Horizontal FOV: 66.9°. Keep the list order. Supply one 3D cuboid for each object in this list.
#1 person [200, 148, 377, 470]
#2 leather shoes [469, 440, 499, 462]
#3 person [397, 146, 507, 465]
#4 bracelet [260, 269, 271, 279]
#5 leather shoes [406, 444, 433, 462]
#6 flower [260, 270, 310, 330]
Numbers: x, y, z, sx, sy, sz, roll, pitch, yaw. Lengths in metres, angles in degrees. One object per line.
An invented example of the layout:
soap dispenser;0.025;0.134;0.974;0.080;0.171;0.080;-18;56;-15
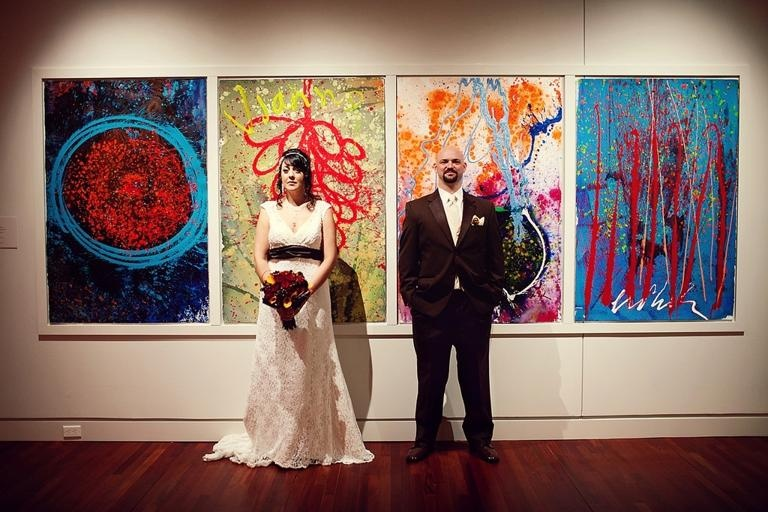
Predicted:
person;-0.756;0.428;4.849;1.159;2.627;0.515;-3;8;-9
leather shoes;0.816;1.653;4.925;0.113;0.112;0.285;-6;1;-35
person;0.555;0.557;4.827;0.849;2.325;0.320;-1;8;1
bracelet;-0.965;0.146;4.711;0.070;0.052;0.069;-4;2;-12
leather shoes;0.284;1.667;4.856;0.258;0.105;0.090;7;-17;-34
flower;-0.807;0.355;4.724;0.446;0.433;0.439;3;-9;-22
